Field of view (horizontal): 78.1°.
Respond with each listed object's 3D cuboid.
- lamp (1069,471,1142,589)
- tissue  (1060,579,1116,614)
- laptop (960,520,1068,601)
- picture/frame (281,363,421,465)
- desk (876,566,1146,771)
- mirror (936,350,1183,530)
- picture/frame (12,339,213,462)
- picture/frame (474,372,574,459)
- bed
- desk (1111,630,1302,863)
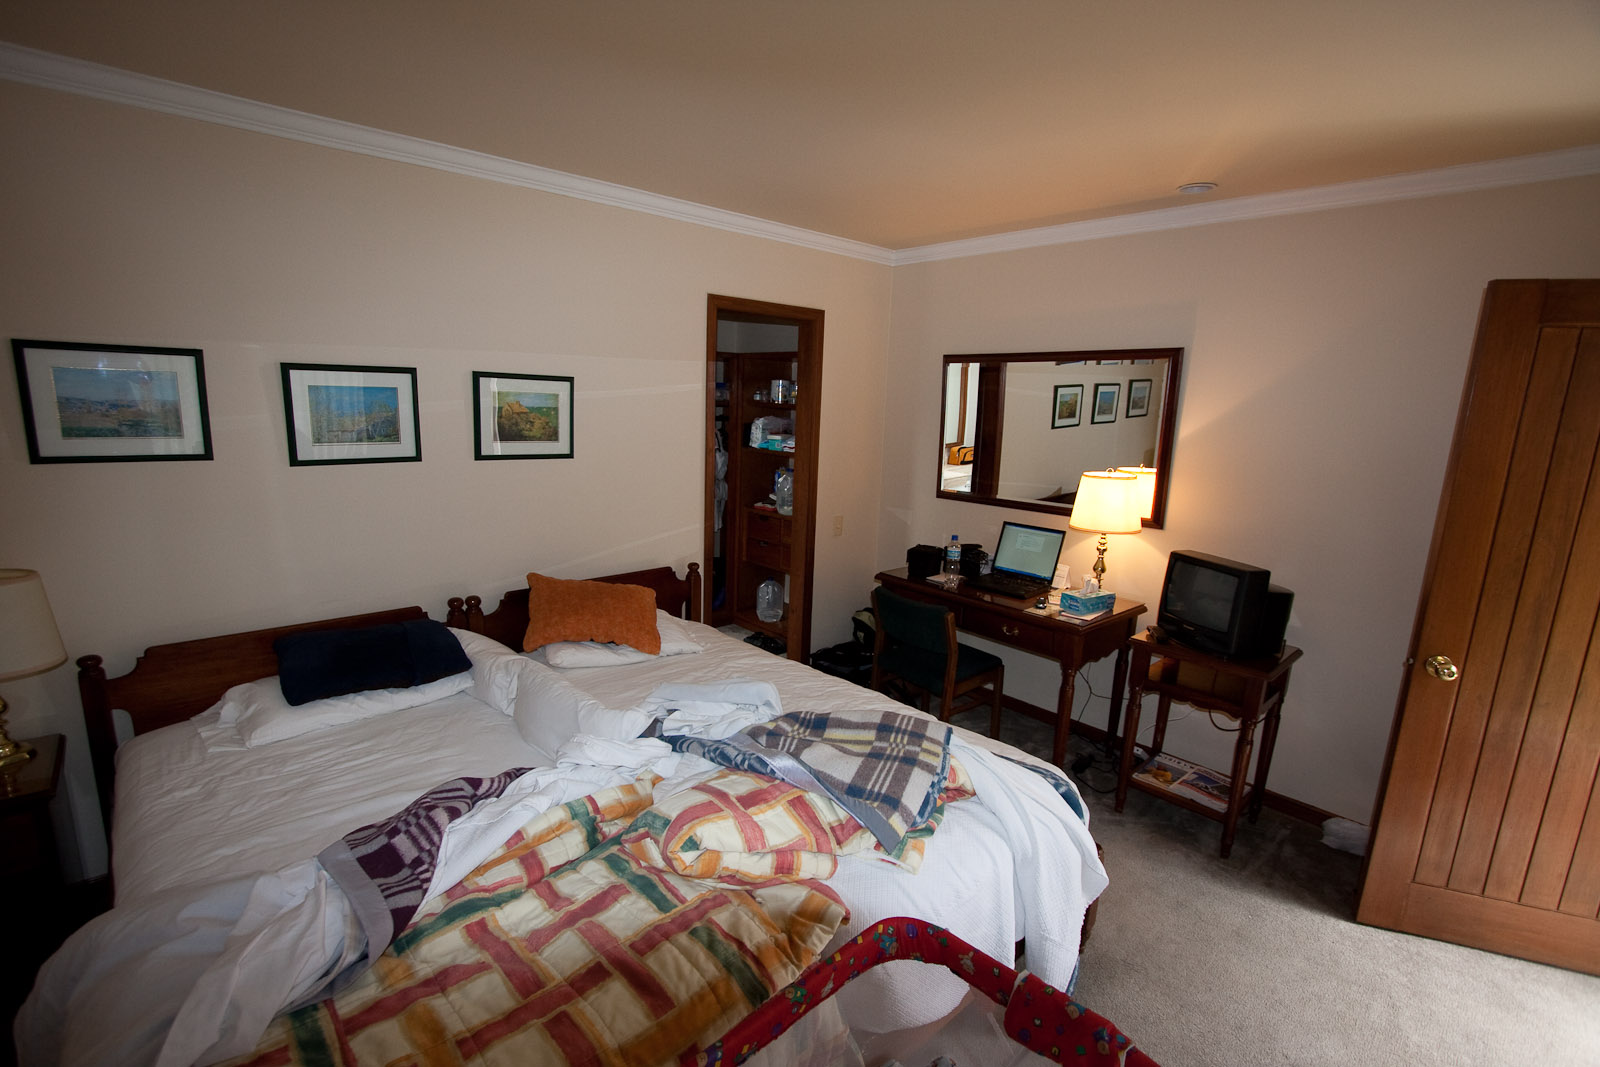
[{"bbox_3d":[1.581,-0.005,5.083,0.328,0.643,0.397,8,13,22],"label":"lamp"},{"bbox_3d":[1.460,0.333,4.965,0.197,0.049,0.200,-7,10,-42],"label":"tissue "},{"bbox_3d":[1.177,0.151,5.344,0.346,0.411,0.462,-8,17,-44],"label":"laptop"},{"bbox_3d":[-1.991,-0.528,4.314,0.459,0.376,0.029,-8,15,-34],"label":"picture/frame"},{"bbox_3d":[0.907,0.712,5.214,1.063,0.675,0.575,14,-2,13],"label":"desk"},{"bbox_3d":[1.451,-0.519,5.318,1.001,0.671,0.040,13,20,43],"label":"mirror"},{"bbox_3d":[-2.751,-0.534,3.899,0.507,0.420,0.048,-7,16,-30],"label":"picture/frame"},{"bbox_3d":[-1.346,-0.576,4.744,0.443,0.352,0.033,-6,9,-37],"label":"picture/frame"},{"bbox_3d":[-0.073,1.093,4.274,1.386,1.040,2.477,-12,19,-41],"label":"bed"},{"bbox_3d":[1.947,0.934,4.756,0.688,0.939,0.662,10,14,32],"label":"desk"}]
